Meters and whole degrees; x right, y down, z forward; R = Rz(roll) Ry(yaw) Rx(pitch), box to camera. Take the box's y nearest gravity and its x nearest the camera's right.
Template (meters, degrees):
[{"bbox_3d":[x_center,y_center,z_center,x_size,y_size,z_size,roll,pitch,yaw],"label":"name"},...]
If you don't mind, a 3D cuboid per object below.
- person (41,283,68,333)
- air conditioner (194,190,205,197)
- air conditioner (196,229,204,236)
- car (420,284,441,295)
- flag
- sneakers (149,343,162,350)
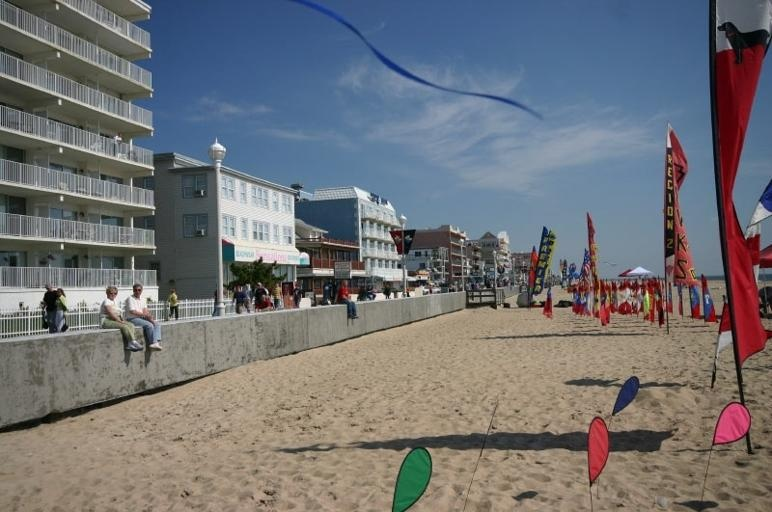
[{"bbox_3d":[-11.384,1.881,21.238,0.722,1.376,1.879,-6,8,-29],"label":"person"},{"bbox_3d":[-13.002,-4.346,43.296,0.897,0.534,0.232,0,7,22],"label":"air conditioner"},{"bbox_3d":[-12.894,-1.554,42.999,0.756,0.515,0.210,2,8,32],"label":"air conditioner"},{"bbox_3d":[6.012,4.330,82.658,1.931,0.951,3.009,-2,-6,2],"label":"car"},{"bbox_3d":[11.914,2.175,29.564,4.376,3.609,10.358,-1,7,8],"label":"flag"},{"bbox_3d":[-5.685,2.239,15.237,0.271,0.133,0.102,-1,-3,-14],"label":"sneakers"}]
